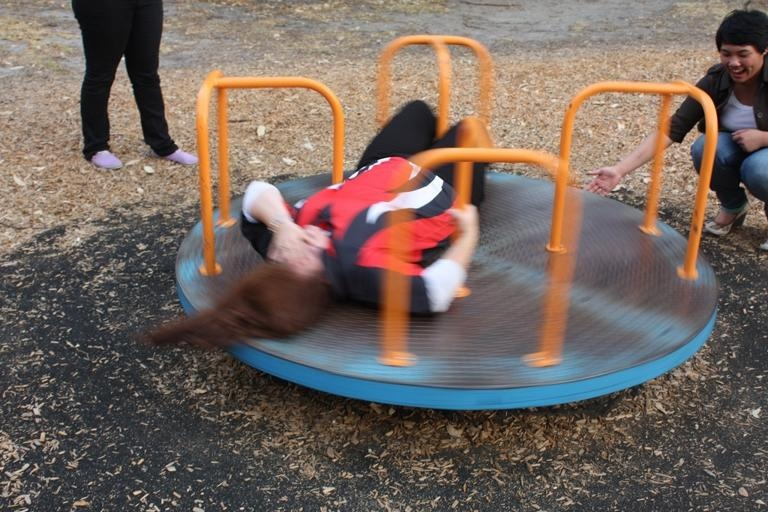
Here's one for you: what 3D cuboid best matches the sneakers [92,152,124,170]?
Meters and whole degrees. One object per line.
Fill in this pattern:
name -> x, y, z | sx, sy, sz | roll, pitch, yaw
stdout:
sneakers -> -1.946, -0.663, 5.770 | 0.209, 0.075, 0.110 | 16, 46, 31

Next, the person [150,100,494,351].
person -> -0.122, -0.120, 4.138 | 1.111, 0.928, 1.819 | 19, 28, 26

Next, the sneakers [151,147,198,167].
sneakers -> -1.527, -0.720, 5.932 | 0.377, 0.086, 0.120 | 5, 46, -3
